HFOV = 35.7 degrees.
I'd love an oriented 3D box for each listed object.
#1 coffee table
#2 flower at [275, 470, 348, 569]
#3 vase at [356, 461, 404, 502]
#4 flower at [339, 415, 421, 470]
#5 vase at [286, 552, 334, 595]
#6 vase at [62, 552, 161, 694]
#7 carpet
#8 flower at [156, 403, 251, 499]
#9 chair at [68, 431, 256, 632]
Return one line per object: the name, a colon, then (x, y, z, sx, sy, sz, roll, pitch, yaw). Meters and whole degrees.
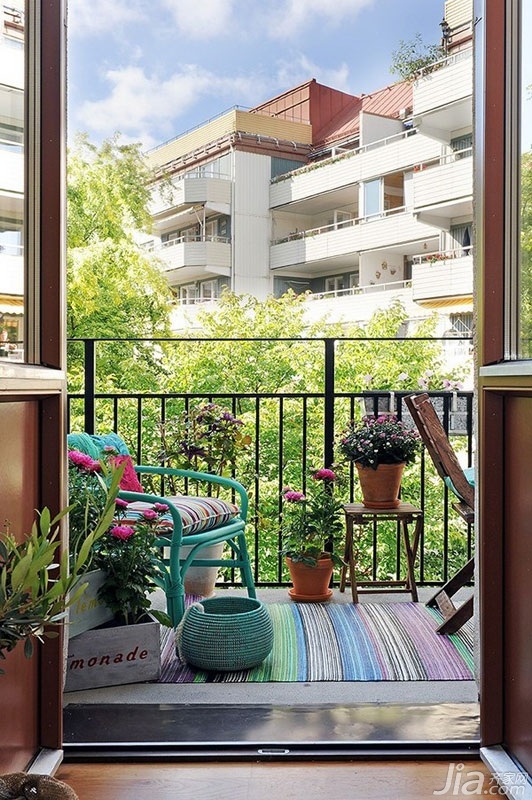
coffee table: (0.409, 0.555, 2.932, 0.260, 0.323, 0.259, 1, -7, -2)
flower: (0.161, 0.428, 3.066, 0.337, 0.464, 0.306, -1, -3, -2)
vase: (0.404, 0.293, 2.952, 0.140, 0.110, 0.138, 4, -8, -32)
flower: (0.409, 0.149, 2.980, 0.170, 0.110, 0.192, -24, -1, 18)
vase: (0.152, 0.611, 2.852, 0.157, 0.166, 0.152, -1, 2, 3)
vase: (-0.375, 0.569, 2.099, 0.206, 0.276, 0.226, -1, 2, 9)
carpet: (0.159, 0.696, 2.420, 0.935, 0.034, 0.713, -1, 3, -1)
flower: (-0.246, 0.222, 3.441, 0.370, 0.384, 0.307, -10, 10, -37)
chair: (-0.348, 0.362, 2.541, 0.513, 0.532, 0.394, -2, 1, 29)
